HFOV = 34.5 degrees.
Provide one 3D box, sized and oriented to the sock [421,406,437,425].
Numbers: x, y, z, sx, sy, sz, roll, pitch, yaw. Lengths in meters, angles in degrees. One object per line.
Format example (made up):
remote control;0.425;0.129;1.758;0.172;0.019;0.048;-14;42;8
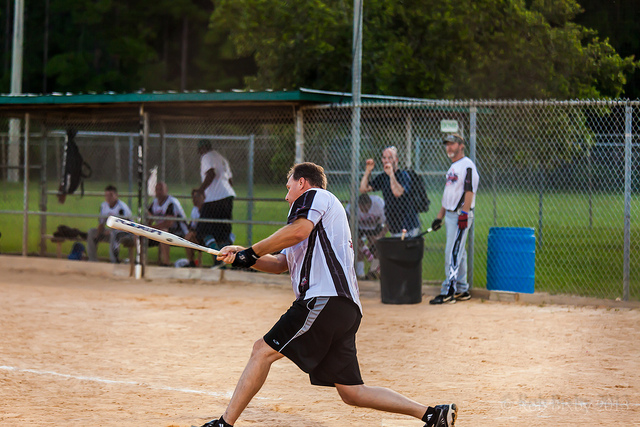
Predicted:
sock;1.945;3.552;18.228;0.253;0.310;0.048;1;0;3

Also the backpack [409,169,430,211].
backpack;2.436;-0.576;23.913;0.202;0.935;0.517;-15;6;-43

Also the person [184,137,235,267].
person;-2.672;-0.303;25.193;1.393;3.216;1.103;-6;-16;6

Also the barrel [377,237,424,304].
barrel;1.726;1.256;23.103;1.318;1.630;1.237;-1;-3;0

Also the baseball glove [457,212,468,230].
baseball glove;3.105;0.160;22.401;0.219;0.350;0.143;1;0;5

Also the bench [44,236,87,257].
bench;-6.550;1.014;26.348;1.084;0.758;0.584;0;-2;-9
